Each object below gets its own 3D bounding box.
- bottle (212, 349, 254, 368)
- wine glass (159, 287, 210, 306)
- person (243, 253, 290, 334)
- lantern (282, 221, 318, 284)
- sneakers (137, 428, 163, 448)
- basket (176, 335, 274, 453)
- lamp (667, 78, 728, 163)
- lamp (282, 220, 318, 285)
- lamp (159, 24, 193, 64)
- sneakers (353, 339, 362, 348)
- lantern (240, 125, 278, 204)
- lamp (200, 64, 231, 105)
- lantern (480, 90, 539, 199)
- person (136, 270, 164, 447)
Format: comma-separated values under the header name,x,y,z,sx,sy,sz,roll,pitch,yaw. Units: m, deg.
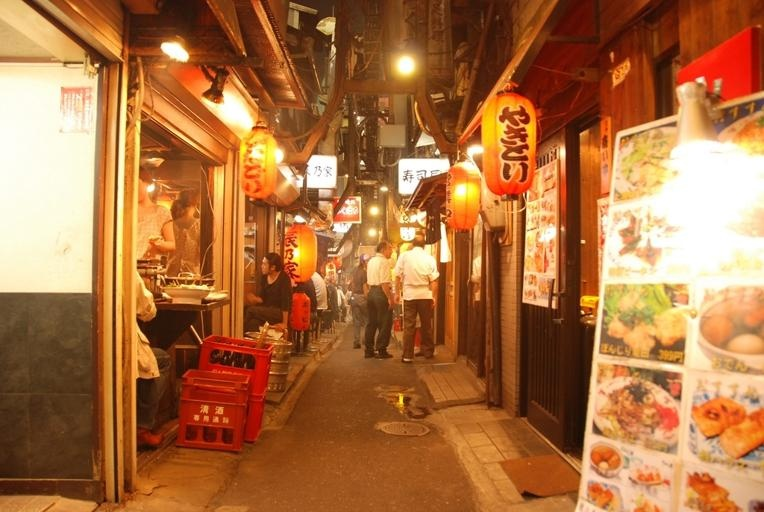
name,x,y,z,sx,sy,sz,roll,pitch,yaw
bottle,-2.094,1.451,8.432,0.434,0.155,0.290,7,-7,8
wine glass,-2.872,0.562,8.800,0.629,0.196,0.173,0,4,-13
person,-2.281,0.758,12.083,0.936,1.604,2.157,0,4,-13
lantern,-1.883,-0.083,13.782,0.736,1.506,0.782,-3,-4,10
sneakers,-3.099,2.445,8.050,0.322,0.213,0.130,15,-27,-34
basket,-2.196,1.871,8.578,0.975,1.075,1.597,8,7,-3
lamp,2.808,-1.244,5.521,0.376,0.652,0.471,4,-8,-38
lamp,-1.831,-0.062,13.785,0.748,1.524,0.788,-2,-1,-10
lamp,-2.437,-2.522,7.278,0.311,0.345,0.345,11,-17,19
sneakers,-0.688,2.436,16.713,0.172,0.186,0.176,2,6,-2
lantern,-2.001,-1.542,9.745,0.572,1.191,0.469,0,4,-15
lamp,-2.223,-2.283,8.040,0.319,0.497,0.461,0,4,-12
lantern,1.717,-1.515,8.074,0.717,1.433,0.341,1,4,3
person,-3.056,1.343,7.861,0.287,2.377,1.116,-1,4,-21
